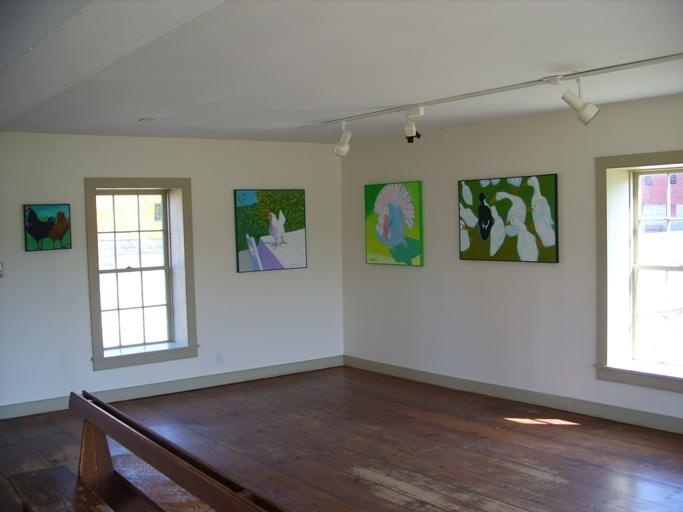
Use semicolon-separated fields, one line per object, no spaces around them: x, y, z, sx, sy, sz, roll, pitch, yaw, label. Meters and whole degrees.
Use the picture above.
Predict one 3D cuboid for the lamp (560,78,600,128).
1.987;-1.264;4.136;0.222;0.417;0.180;-13;-10;11;lamp
